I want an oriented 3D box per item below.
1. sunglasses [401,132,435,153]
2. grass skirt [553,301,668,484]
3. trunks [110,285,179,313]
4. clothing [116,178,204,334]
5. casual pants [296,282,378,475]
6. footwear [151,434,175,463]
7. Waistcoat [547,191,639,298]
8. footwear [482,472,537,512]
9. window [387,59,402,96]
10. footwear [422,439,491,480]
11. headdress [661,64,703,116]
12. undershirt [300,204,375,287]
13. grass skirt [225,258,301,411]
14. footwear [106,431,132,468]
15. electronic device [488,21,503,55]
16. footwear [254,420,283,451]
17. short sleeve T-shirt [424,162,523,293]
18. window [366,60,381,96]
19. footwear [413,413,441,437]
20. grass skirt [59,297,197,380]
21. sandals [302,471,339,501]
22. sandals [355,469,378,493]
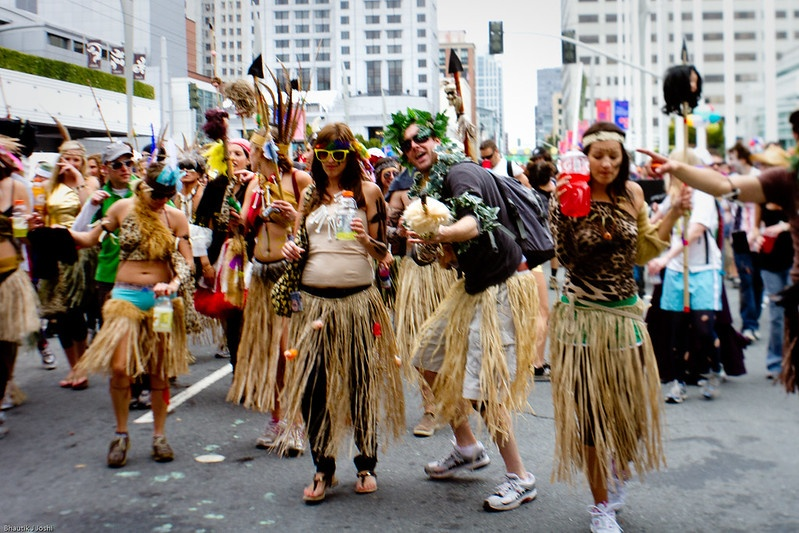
[{"bbox_3d":[0.126,-0.888,5.152,0.249,0.132,0.108,0,10,4],"label":"sunglasses"},{"bbox_3d":[1.309,0.842,4.973,0.823,1.265,0.691,-4,-8,37],"label":"grass skirt"},{"bbox_3d":[-2.054,0.233,5.635,0.291,0.137,0.233,3,-1,17],"label":"trunks"},{"bbox_3d":[-1.971,-0.065,6.444,0.933,1.209,0.406,-1,-8,-19],"label":"clothing"},{"bbox_3d":[-0.438,0.836,5.149,0.524,1.337,0.323,-1,10,-4],"label":"casual pants"},{"bbox_3d":[-1.871,1.439,5.691,0.159,0.130,0.314,2,-10,-20],"label":"footwear"},{"bbox_3d":[1.327,-0.101,4.816,0.632,0.752,0.440,1,5,-25],"label":"Waistcoat"},{"bbox_3d":[0.779,1.549,5.078,0.441,0.209,0.169,-9,2,-38],"label":"footwear"},{"bbox_3d":[-0.426,-27.376,106.068,1.975,4.935,0.563,2,-2,4],"label":"window"},{"bbox_3d":[0.416,1.435,5.484,0.579,0.270,0.209,-13,-1,0],"label":"footwear"},{"bbox_3d":[2.200,-1.382,5.650,0.277,0.402,0.396,7,12,34],"label":"headdress"},{"bbox_3d":[-0.438,-0.148,5.131,0.500,0.605,0.360,-2,-22,2],"label":"undershirt"},{"bbox_3d":[-1.247,0.597,6.142,0.382,1.214,0.424,-9,-16,33],"label":"grass skirt"},{"bbox_3d":[-2.155,1.413,5.537,0.118,0.127,0.304,0,10,-7],"label":"footwear"},{"bbox_3d":[2.932,-6.927,21.945,0.354,0.956,0.970,0,10,3],"label":"electronic device"},{"bbox_3d":[-1.064,1.390,5.973,0.125,0.155,0.355,-2,-8,10],"label":"footwear"},{"bbox_3d":[0.516,-0.276,4.988,0.494,0.929,0.812,-20,14,13],"label":"short sleeve T-shirt"},{"bbox_3d":[-3.689,-27.058,105.724,2.537,5.904,0.623,-1,-23,-2],"label":"window"},{"bbox_3d":[0.222,1.333,6.084,0.166,0.195,0.447,-3,-15,12],"label":"footwear"},{"bbox_3d":[-2.039,0.535,5.770,0.926,0.797,0.521,-3,-7,-13],"label":"grass skirt"},{"bbox_3d":[-0.572,1.578,5.130,0.118,0.112,0.270,-6,-10,22],"label":"sandals"},{"bbox_3d":[-0.238,1.550,5.210,0.113,0.107,0.264,-1,-14,1],"label":"sandals"}]
